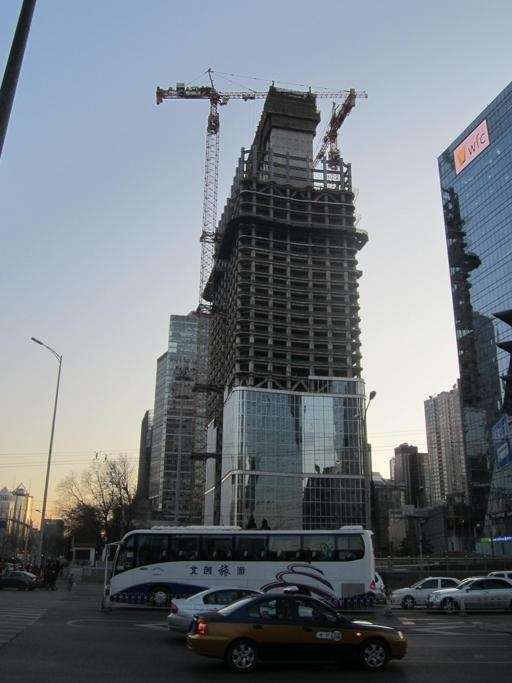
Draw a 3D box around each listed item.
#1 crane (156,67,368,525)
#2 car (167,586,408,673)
[{"bbox_3d":[3.872,-16.938,110.209,25.575,92.752,45.387,2,-19,-5],"label":"crane"},{"bbox_3d":[0.677,5.419,12.131,4.263,1.298,1.564,0,-12,0],"label":"car"}]
